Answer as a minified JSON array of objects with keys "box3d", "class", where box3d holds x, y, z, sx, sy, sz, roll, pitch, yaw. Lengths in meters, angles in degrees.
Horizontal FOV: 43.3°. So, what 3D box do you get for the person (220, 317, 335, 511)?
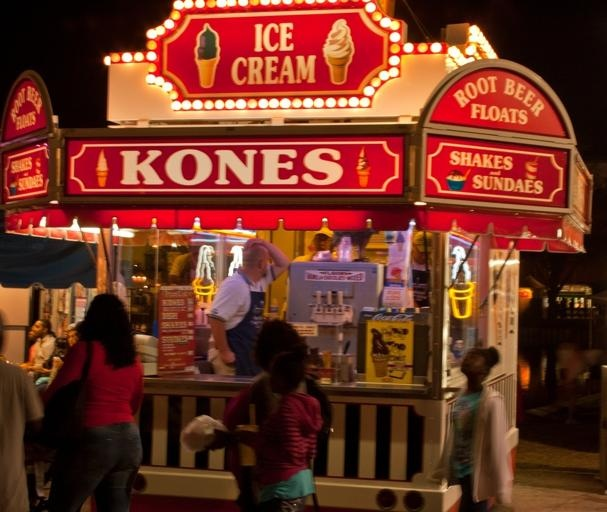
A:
[{"box3d":[-0.122,0.877,4.412,0.617,0.992,0.595,1,-3,-2],"class":"person"}]
